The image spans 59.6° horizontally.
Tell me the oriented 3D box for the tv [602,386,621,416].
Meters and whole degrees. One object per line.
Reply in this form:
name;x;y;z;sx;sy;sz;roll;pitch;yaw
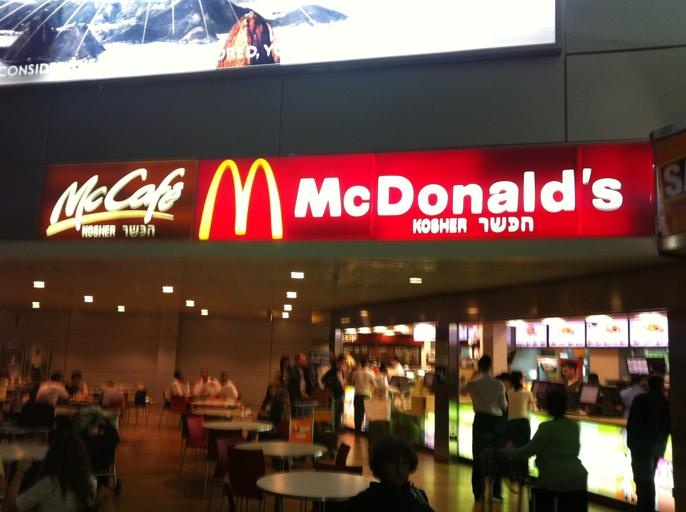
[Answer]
tv;3.708;2.003;8.283;0.187;0.367;0.365;9;-9;-23
